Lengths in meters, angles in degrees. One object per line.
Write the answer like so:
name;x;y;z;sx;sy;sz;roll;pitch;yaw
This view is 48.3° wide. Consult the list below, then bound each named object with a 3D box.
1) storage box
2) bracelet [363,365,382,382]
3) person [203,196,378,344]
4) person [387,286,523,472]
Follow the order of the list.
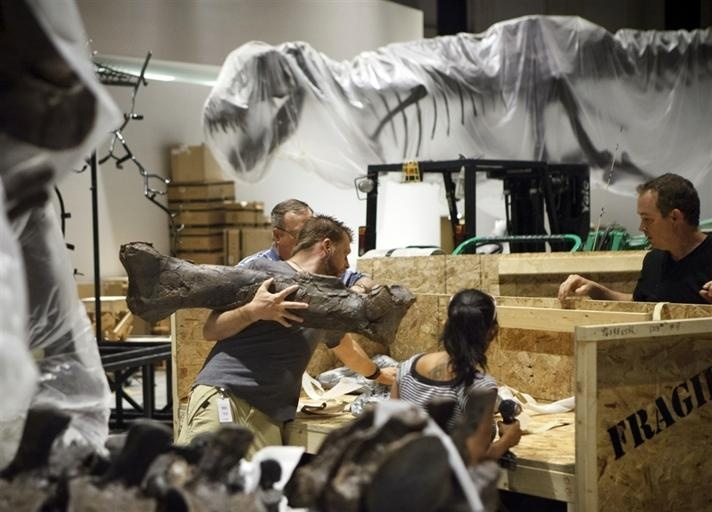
storage box;-1.851;-0.614;10.861;0.991;2.228;1.201;5;6;34
bracelet;0.081;0.561;3.798;0.063;0.031;0.066;-17;1;29
person;-0.430;0.010;4.682;0.537;0.750;0.262;39;29;26
person;0.381;0.435;3.048;0.445;0.745;0.441;3;3;5
